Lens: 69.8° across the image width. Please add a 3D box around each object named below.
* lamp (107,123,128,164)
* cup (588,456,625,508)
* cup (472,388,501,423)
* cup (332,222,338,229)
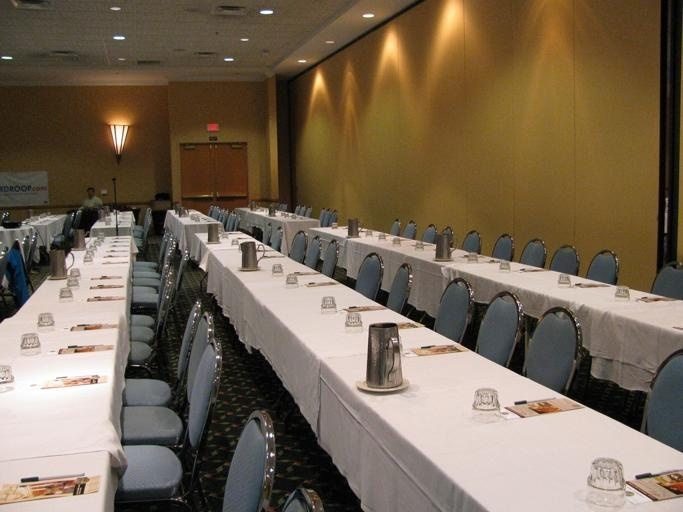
[{"bbox_3d":[-7.883,-3.989,17.452,0.640,1.346,0.257,-5,10,-22],"label":"lamp"},{"bbox_3d":[0.781,0.663,1.432,0.115,0.112,0.105,-1,9,0],"label":"cup"},{"bbox_3d":[0.593,0.615,2.008,0.103,0.121,0.115,-1,0,-8],"label":"cup"},{"bbox_3d":[-0.138,-0.610,9.804,0.136,0.165,0.113,-1,-5,-5],"label":"cup"}]
